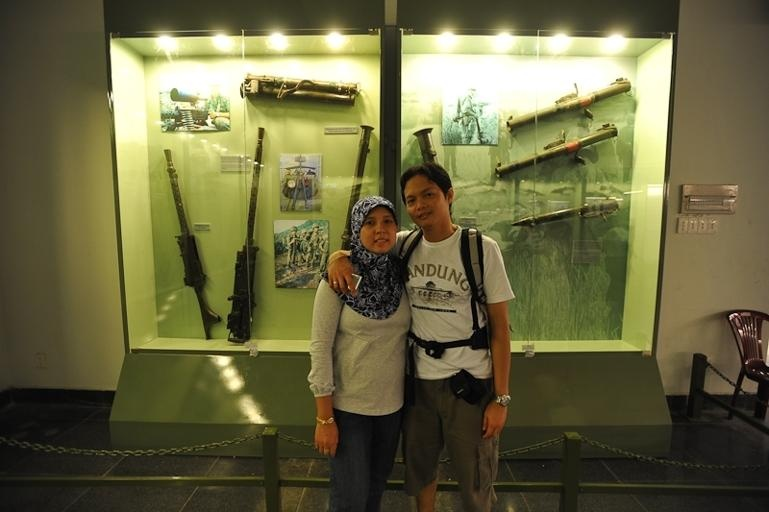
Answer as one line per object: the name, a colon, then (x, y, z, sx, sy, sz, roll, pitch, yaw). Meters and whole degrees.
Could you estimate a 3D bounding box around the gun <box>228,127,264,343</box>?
gun: (-1.482, -0.137, 6.539, 0.344, 2.528, 0.532, 6, 4, -1)

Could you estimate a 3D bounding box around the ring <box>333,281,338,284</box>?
ring: (-0.419, 0.216, 4.805, 0.029, 0.029, 0.009, 0, 2, 5)

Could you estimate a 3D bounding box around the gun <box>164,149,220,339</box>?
gun: (-2.125, -0.129, 6.423, 0.535, 2.092, 0.092, 2, 8, 14)
